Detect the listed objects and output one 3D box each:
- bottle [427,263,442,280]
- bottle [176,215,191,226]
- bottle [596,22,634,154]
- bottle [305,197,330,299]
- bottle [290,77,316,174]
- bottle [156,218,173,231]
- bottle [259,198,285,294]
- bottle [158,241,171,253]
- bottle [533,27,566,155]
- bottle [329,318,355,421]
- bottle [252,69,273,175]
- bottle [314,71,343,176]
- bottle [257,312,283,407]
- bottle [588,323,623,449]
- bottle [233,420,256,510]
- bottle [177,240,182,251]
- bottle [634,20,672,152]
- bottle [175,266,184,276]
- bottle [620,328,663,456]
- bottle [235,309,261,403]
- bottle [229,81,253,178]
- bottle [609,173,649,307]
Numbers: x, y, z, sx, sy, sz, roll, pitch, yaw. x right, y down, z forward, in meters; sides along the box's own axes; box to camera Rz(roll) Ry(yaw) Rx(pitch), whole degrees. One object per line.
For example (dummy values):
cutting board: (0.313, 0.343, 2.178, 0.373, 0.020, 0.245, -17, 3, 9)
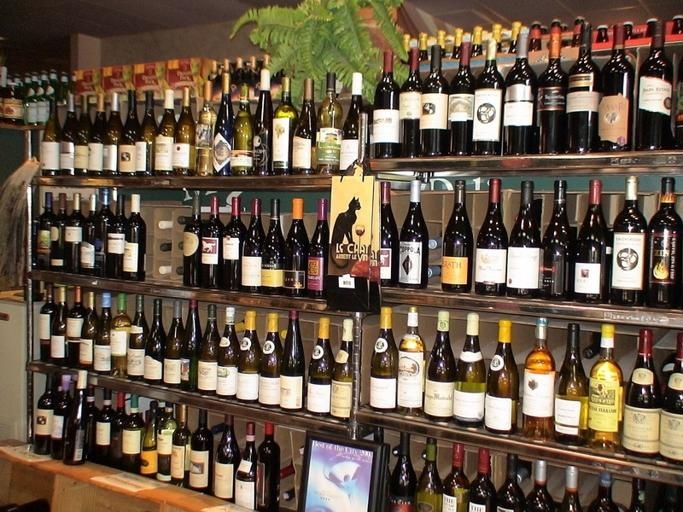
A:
bottle: (0.364, 0.060, 2.583, 0.052, 0.058, 0.083, -19, -5, -8)
bottle: (-0.742, -0.167, 3.070, 0.060, 0.044, 0.067, -5, 17, -26)
bottle: (0.888, -0.537, 2.104, 0.105, 0.411, 0.140, 2, 5, 25)
bottle: (-0.093, -0.033, 2.593, 0.085, 0.383, 0.277, 0, 4, -3)
bottle: (-0.149, -0.505, 2.612, 0.102, 0.359, 0.266, 0, 4, -3)
bottle: (-0.854, -0.149, 3.135, 0.040, 0.043, 0.173, -7, -1, 19)
bottle: (-0.280, -0.018, 2.672, 0.095, 0.333, 0.155, 0, 4, -5)
bottle: (-0.853, -0.046, 3.144, 0.025, 0.027, 0.076, -1, -2, 19)
bottle: (0.705, -0.555, 2.189, 0.097, 0.432, 0.140, 1, 4, 17)
bottle: (0.001, 0.429, 2.503, 0.090, 0.382, 0.143, 0, 4, 0)
bottle: (-0.322, -0.540, 2.677, 0.080, 0.431, 0.314, 0, 4, -6)
bottle: (-0.049, -0.509, 2.541, 0.101, 0.385, 0.195, 0, 4, -2)
bottle: (-0.295, 0.408, 2.712, 0.101, 0.372, 0.227, 0, 4, -5)
bottle: (0.911, 0.428, 2.192, 0.206, 0.409, 0.090, -4, 5, -40)
bottle: (-0.404, 0.865, 2.743, 0.093, 0.360, 0.185, -1, 4, -7)
bottle: (-0.765, -0.038, 3.093, 0.007, 0.031, 0.030, 2, 14, 20)
bottle: (1.011, -0.539, 2.081, 0.172, 0.408, 0.083, -4, 6, -44)
bottle: (-0.761, 0.071, 3.087, 0.044, 0.046, 0.052, -2, 7, 2)
bottle: (0.987, 0.438, 2.130, 0.124, 0.401, 0.110, 1, 4, 16)
bottle: (-0.391, 0.403, 2.738, 0.103, 0.362, 0.204, -1, 4, -7)
bottle: (-0.409, -0.515, 2.700, 0.092, 0.374, 0.259, 0, 4, -5)
bottle: (0.938, -0.050, 2.128, 0.108, 0.416, 0.097, 2, 4, 25)
